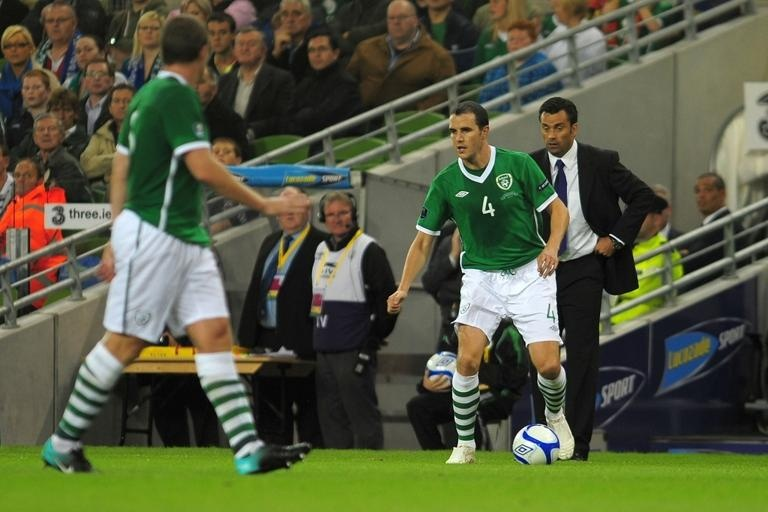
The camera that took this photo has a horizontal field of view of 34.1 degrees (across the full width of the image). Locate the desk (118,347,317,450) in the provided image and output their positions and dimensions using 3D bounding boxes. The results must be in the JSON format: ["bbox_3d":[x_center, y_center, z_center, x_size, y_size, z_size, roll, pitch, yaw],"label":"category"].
[{"bbox_3d":[-1.934,1.292,14.779,2.000,0.961,1.308,-1,-5,10],"label":"desk"}]

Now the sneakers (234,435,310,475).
[{"bbox_3d":[-0.935,1.719,10.596,0.619,0.264,0.196,1,-13,-8],"label":"sneakers"}]

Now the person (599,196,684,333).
[{"bbox_3d":[3.236,0.122,15.687,0.912,1.824,0.730,2,4,18],"label":"person"}]

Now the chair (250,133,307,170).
[{"bbox_3d":[-1.303,-1.387,17.086,0.592,0.478,0.837,-9,20,-22],"label":"chair"}]

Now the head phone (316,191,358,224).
[{"bbox_3d":[-0.529,-0.577,14.762,0.422,0.358,0.162,-1,-15,-5],"label":"head phone"}]

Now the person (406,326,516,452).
[{"bbox_3d":[1.031,1.442,14.818,1.219,1.615,0.999,-1,-1,5],"label":"person"}]

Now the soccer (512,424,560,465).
[{"bbox_3d":[1.437,1.799,12.168,0.572,0.327,0.615,-3,0,-19],"label":"soccer"}]
